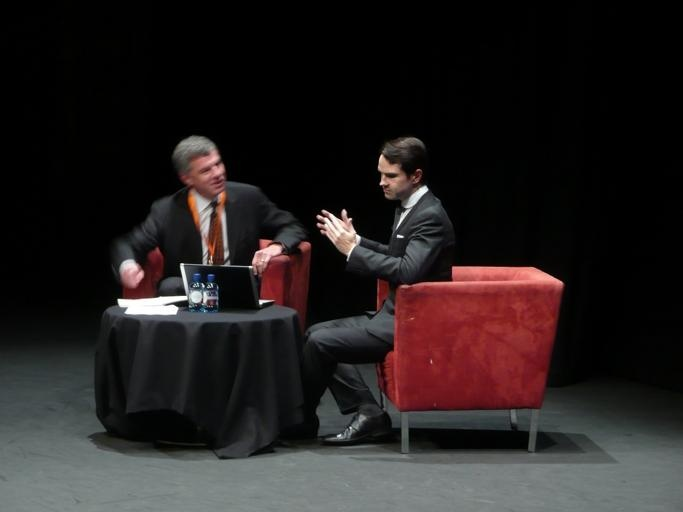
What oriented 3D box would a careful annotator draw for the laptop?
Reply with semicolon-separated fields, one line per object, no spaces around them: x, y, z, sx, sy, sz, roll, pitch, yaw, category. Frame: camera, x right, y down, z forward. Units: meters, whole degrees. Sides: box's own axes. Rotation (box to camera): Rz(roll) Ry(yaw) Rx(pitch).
-0.562;0.138;2.894;0.312;0.202;0.239;0;3;10;laptop

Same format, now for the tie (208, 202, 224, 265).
-0.763;-0.147;3.563;0.092;0.382;0.052;0;2;-16;tie

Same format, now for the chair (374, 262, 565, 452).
0.633;0.478;3.078;0.802;0.859;0.808;1;-2;0;chair

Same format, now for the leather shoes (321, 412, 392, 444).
0.089;0.872;3.029;0.370;0.177;0.141;0;-5;-13;leather shoes

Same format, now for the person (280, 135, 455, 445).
0.238;0.250;3.954;1.303;2.512;1.112;1;-2;3;person

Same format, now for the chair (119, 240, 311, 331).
-0.603;0.151;3.655;0.842;0.723;0.644;1;-4;-4;chair
